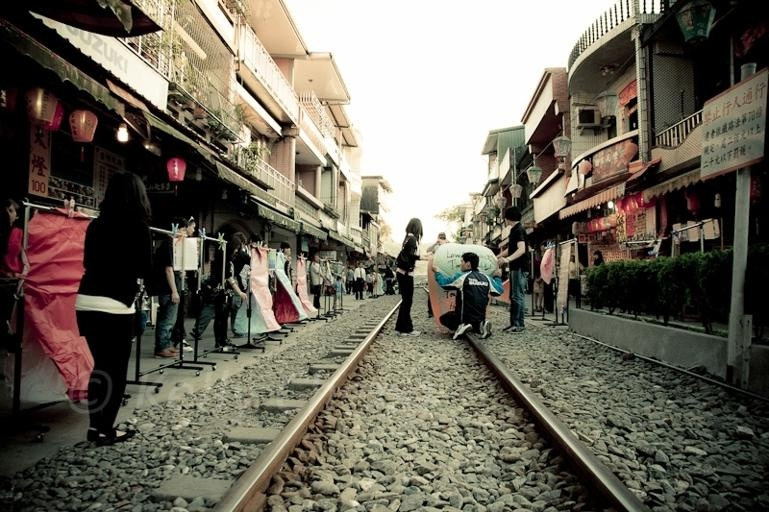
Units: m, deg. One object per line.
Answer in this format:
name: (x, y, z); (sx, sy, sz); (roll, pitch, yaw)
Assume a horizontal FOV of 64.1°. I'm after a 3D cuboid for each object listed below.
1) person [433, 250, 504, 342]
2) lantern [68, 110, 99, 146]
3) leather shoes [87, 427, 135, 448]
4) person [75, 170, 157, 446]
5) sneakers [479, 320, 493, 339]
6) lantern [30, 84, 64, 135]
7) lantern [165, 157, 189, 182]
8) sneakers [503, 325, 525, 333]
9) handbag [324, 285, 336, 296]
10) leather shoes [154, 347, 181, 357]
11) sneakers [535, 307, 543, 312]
person: (1.799, 0.856, 13.084); (1.287, 1.860, 1.123); (-3, -6, 14)
lantern: (-5.404, -2.289, 11.109); (0.515, 0.615, 0.522); (3, -2, 16)
leather shoes: (-3.546, 2.328, 7.974); (0.463, 0.182, 0.260); (1, 0, -22)
person: (-3.479, 0.671, 7.940); (0.911, 3.516, 0.358); (-1, -6, -1)
sneakers: (2.071, 1.535, 12.606); (0.161, 0.455, 0.195); (4, -2, -30)
lantern: (-5.668, -2.479, 10.335); (0.480, 0.452, 0.555); (1, -14, -9)
lantern: (-4.606, -1.911, 13.763); (0.468, 0.397, 0.452); (11, -16, -36)
sneakers: (2.904, 1.676, 13.758); (0.526, 0.245, 0.188); (5, -14, 3)
handbag: (-1.844, 1.193, 20.732); (0.344, 0.200, 0.478); (1, 1, -13)
leather shoes: (-4.010, 1.777, 11.293); (0.375, 0.176, 0.154); (-1, 0, -13)
sneakers: (4.592, 1.616, 18.243); (0.195, 0.206, 0.112); (3, 33, 27)
